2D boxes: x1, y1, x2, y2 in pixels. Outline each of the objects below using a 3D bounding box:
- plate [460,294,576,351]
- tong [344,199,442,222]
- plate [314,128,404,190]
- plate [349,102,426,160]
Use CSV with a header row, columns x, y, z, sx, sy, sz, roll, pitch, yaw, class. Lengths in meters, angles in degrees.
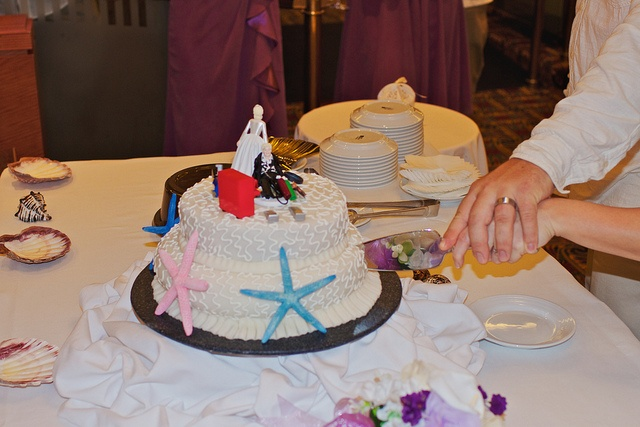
x,y,z,sx,sy,sz,roll,pitch,yaw,class
0.807,0.446,1.921,0.389,0.054,0.398,-1,18,17,plate
0.383,0.010,2.527,0.484,0.072,0.181,2,55,-5,tong
0.220,-0.380,2.783,0.349,0.188,0.354,1,27,5,plate
0.454,-0.582,3.001,0.389,0.234,0.395,-3,27,-1,plate
